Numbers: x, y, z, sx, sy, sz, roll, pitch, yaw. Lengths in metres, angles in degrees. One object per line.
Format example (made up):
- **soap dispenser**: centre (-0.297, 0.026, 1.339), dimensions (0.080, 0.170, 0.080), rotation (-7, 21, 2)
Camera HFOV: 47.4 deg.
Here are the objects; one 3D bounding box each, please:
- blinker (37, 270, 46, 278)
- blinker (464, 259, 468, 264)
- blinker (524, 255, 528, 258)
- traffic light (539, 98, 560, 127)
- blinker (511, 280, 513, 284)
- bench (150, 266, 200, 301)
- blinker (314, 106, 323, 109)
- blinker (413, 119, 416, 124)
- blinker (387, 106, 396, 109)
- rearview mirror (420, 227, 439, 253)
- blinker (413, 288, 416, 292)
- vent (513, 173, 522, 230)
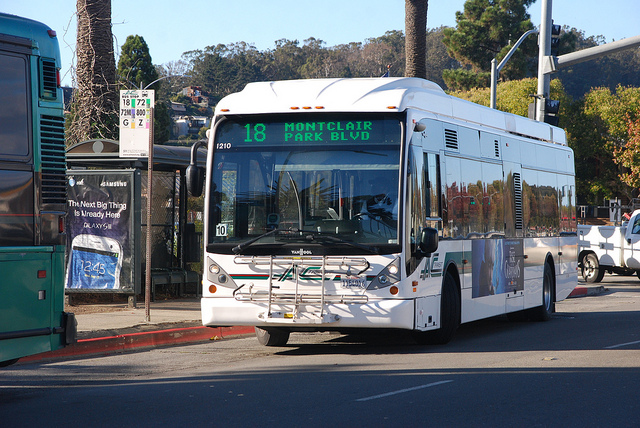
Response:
- **blinker**: centre (-3.660, 0.786, 9.583), dimensions (0.104, 0.104, 0.025), rotation (0, 5, -34)
- **blinker**: centre (2.926, 0.950, 14.564), dimensions (0.058, 0.115, 0.115), rotation (-5, -7, 30)
- **blinker**: centre (4.820, 1.001, 17.074), dimensions (0.056, 0.060, 0.015), rotation (-6, -13, 13)
- **traffic light**: centre (8.168, -3.539, 25.942), dimensions (0.562, 1.033, 0.528), rotation (11, -15, -13)
- **blinker**: centre (4.328, 1.539, 16.435), dimensions (0.060, 0.091, 0.025), rotation (3, -5, -24)
- **bench**: centre (-4.035, 1.907, 19.908), dimensions (0.567, 0.790, 1.549), rotation (-6, -5, 40)
- **blinker**: centre (-0.017, -1.900, 12.938), dimensions (0.134, 0.043, 0.027), rotation (4, -1, 8)
- **blinker**: centre (1.684, -1.658, 12.978), dimensions (0.047, 0.059, 0.050), rotation (0, -4, -10)
- **blinker**: centre (1.258, -1.880, 12.813), dimensions (0.113, 0.039, 0.020), rotation (3, -1, 21)
- **rearview mirror**: centre (1.912, 0.449, 12.774), dimensions (0.298, 0.375, 0.275), rotation (4, -1, 3)
- **blinker**: centre (1.654, 1.327, 12.742), dimensions (0.068, 0.071, 0.037), rotation (1, -6, -14)
- **vent**: centre (4.561, -0.376, 16.841), dimensions (0.235, 1.228, 0.091), rotation (-1, -1, -29)
